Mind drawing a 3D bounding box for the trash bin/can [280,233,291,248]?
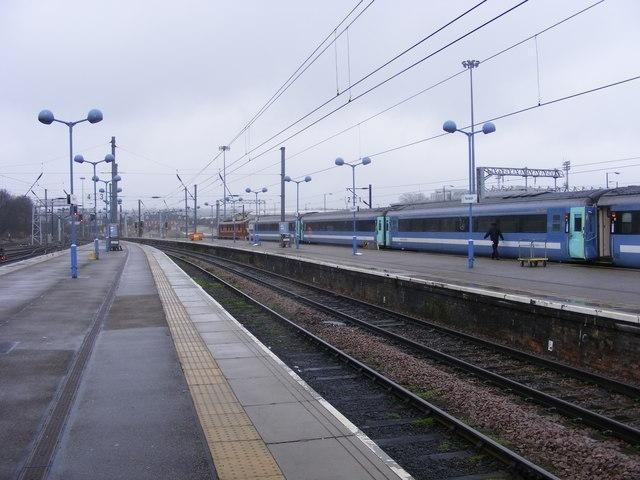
[{"bbox_3d":[-3.114,0.082,48.500,0.933,1.486,1.144,0,43,-6],"label":"trash bin/can"}]
